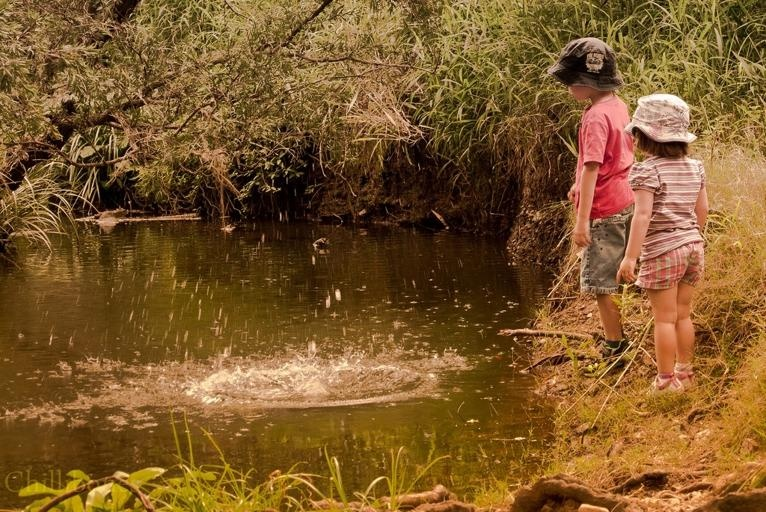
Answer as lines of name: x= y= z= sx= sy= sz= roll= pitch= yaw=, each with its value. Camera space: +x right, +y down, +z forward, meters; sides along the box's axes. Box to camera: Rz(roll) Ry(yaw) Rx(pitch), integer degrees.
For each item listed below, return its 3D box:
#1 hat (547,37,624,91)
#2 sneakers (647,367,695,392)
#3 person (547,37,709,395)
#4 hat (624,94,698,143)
hat: x=1.628 y=-1.521 z=6.412 sx=0.481 sy=0.252 sz=0.497 roll=2 pitch=12 yaw=-10
sneakers: x=2.146 y=0.929 z=5.984 sx=0.287 sy=0.204 sz=0.149 roll=2 pitch=13 yaw=19
person: x=1.959 y=-0.374 z=6.223 sx=0.742 sy=2.639 sz=1.240 roll=-5 pitch=13 yaw=-15
hat: x=2.029 y=-0.998 z=5.846 sx=0.409 sy=0.209 sz=0.387 roll=3 pitch=8 yaw=7
